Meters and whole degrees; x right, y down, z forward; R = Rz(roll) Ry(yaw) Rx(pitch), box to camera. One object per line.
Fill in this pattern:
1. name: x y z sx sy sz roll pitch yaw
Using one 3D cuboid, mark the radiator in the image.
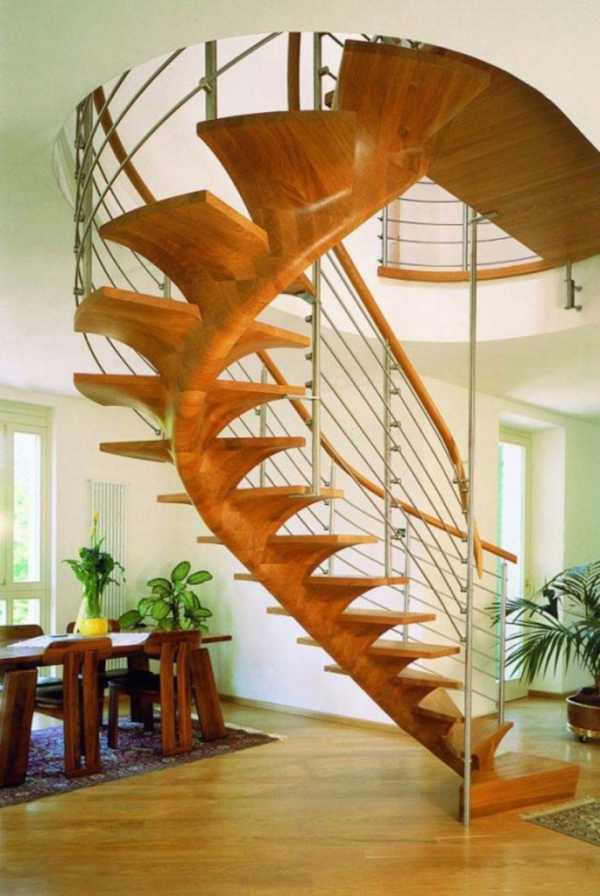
1. radiator: -1.542 0.878 6.803 0.364 1.246 0.059 0 5 14
